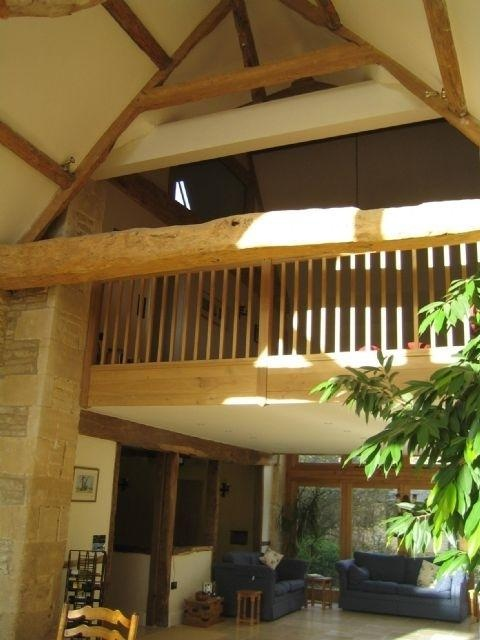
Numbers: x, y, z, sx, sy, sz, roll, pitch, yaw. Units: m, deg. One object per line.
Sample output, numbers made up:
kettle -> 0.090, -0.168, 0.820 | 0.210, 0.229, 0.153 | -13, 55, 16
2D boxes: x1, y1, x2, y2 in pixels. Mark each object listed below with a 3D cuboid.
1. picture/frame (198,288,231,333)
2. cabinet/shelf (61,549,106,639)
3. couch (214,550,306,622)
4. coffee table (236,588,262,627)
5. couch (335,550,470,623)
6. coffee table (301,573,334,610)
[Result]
picture/frame -> -0.499, -0.219, 9.143 | 0.156, 0.614, 0.658 | -7, -11, 26
cabinet/shelf -> -1.566, 2.630, 5.179 | 0.299, 0.527, 0.308 | 8, -13, -20
couch -> 0.405, 4.341, 8.403 | 0.912, 0.986, 1.525 | -15, -26, 28
coffee table -> 0.118, 4.238, 7.533 | 0.470, 0.552, 0.457 | -5, -29, 11
couch -> 2.652, 4.442, 8.466 | 2.008, 0.864, 0.842 | -11, -20, 34
coffee table -> 1.434, 4.881, 9.220 | 0.497, 0.570, 1.094 | -2, -17, 10
